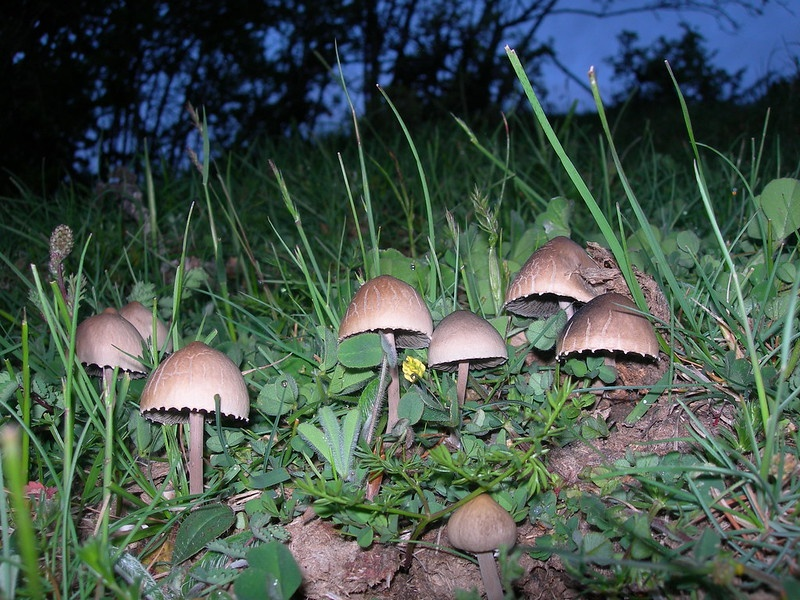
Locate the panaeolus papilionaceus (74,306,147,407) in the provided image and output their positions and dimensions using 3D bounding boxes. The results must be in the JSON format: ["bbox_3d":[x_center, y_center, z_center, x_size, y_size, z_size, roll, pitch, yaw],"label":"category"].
[{"bbox_3d":[-1.339,0.229,3.087,0.302,0.420,0.293,5,11,-11],"label":"panaeolus papilionaceus"}]

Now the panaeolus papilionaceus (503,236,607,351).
[{"bbox_3d":[0.706,-0.048,3.182,0.333,0.429,0.398,2,-4,-6],"label":"panaeolus papilionaceus"}]

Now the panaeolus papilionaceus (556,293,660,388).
[{"bbox_3d":[0.916,0.226,3.007,0.426,0.497,0.506,-3,-19,21],"label":"panaeolus papilionaceus"}]

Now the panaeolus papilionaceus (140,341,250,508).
[{"bbox_3d":[-0.866,0.488,2.843,0.460,0.618,0.347,-11,18,-9],"label":"panaeolus papilionaceus"}]

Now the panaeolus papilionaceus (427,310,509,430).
[{"bbox_3d":[0.284,0.242,2.999,0.333,0.456,0.370,-3,3,-5],"label":"panaeolus papilionaceus"}]

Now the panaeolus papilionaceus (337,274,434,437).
[{"bbox_3d":[-0.014,0.195,3.014,0.344,0.641,0.497,8,24,40],"label":"panaeolus papilionaceus"}]
